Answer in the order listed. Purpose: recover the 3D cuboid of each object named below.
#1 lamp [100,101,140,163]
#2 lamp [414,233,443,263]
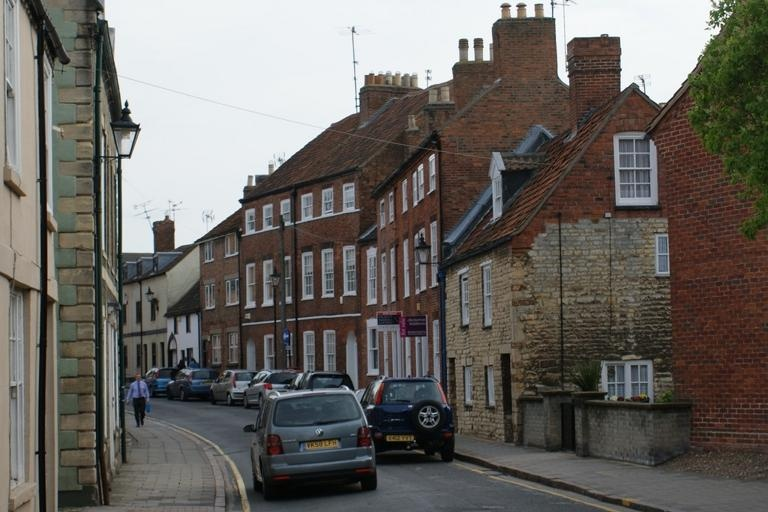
[{"bbox_3d":[-6.387,-3.090,29.907,0.826,1.403,0.908,2,-3,8],"label":"lamp"},{"bbox_3d":[1.369,-0.349,40.952,0.637,1.264,0.562,-8,3,3],"label":"lamp"}]
